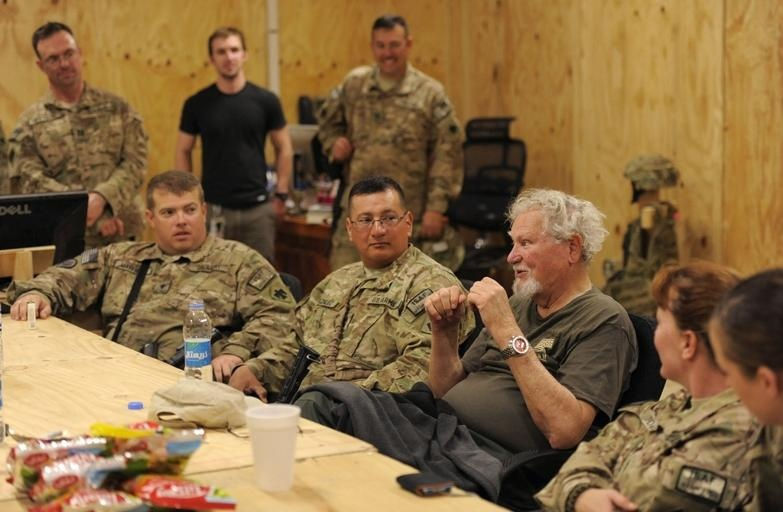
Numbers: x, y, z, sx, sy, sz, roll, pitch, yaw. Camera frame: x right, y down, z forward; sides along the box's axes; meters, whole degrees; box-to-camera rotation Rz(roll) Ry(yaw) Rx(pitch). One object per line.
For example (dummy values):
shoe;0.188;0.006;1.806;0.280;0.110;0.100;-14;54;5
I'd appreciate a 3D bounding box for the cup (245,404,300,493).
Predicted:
cup;-0.328;0.563;2.254;0.182;0.209;0.180;-1;-9;0

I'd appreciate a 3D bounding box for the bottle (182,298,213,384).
bottle;-0.724;0.355;2.949;0.102;0.371;0.101;2;15;-1

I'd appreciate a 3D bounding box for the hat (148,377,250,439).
hat;-0.630;0.487;2.567;0.252;0.088;0.211;5;4;-15

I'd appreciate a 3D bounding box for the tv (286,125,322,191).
tv;-0.739;-0.846;6.814;0.418;0.516;0.429;0;1;5

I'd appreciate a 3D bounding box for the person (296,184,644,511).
person;0.361;0.399;3.379;1.421;1.141;0.946;0;-1;-18

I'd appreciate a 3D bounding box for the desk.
desk;-0.831;-0.055;7.053;0.543;0.864;0.921;9;20;-3

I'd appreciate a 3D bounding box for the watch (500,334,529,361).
watch;0.471;0.363;3.055;0.066;0.104;0.101;33;-16;0

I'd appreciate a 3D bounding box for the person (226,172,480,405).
person;-0.198;0.272;3.576;0.992;1.259;1.020;2;-3;22

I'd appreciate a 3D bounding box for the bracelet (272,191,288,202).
bracelet;-0.831;-0.460;5.926;0.075;0.072;0.076;17;22;35
